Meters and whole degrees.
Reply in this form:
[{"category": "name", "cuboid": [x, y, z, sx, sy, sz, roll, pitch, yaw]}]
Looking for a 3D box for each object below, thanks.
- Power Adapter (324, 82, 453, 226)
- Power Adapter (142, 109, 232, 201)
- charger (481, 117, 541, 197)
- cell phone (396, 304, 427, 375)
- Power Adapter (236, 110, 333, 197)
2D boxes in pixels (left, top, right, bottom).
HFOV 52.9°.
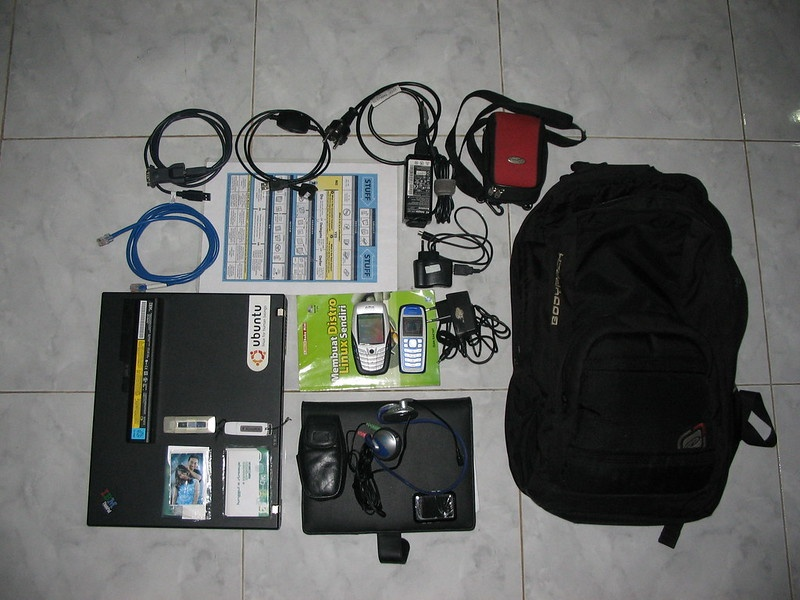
[{"category": "Power Adapter", "cuboid": [-0.010, -0.523, 2.737, 0.434, 0.408, 0.253, 28, 24, 13]}, {"category": "Power Adapter", "cuboid": [-0.726, -0.481, 2.710, 0.298, 0.314, 0.073, 21, -10, -2]}, {"category": "charger", "cuboid": [0.367, -0.464, 2.610, 0.216, 0.299, 0.103, 2, -12, -1]}, {"category": "cell phone", "cuboid": [0.037, 0.126, 2.564, 0.088, 0.211, 0.053, 0, -1, 2]}, {"category": "Power Adapter", "cuboid": [-0.359, -0.501, 2.737, 0.350, 0.358, 0.080, -19, 59, -5]}]
